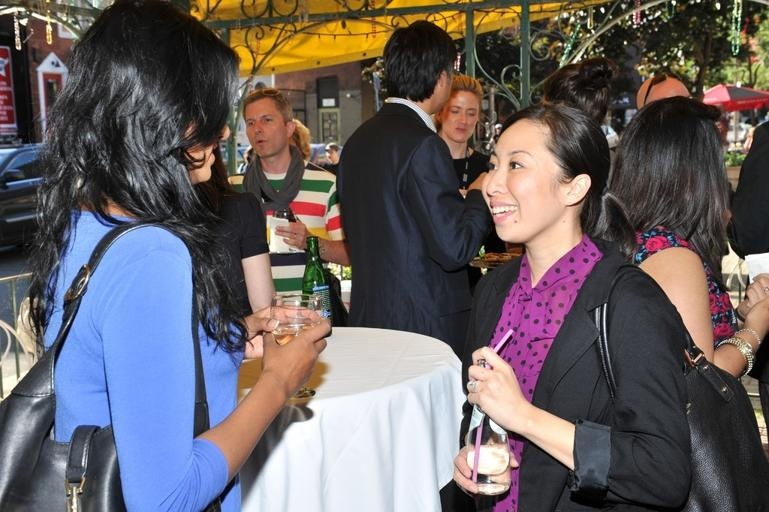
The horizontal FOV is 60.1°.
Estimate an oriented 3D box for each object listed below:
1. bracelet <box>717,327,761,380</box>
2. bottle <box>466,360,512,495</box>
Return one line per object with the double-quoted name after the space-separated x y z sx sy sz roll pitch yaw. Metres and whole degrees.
1.305 0.340 2.438 0.125 0.177 0.063 25 22 21 "bracelet"
0.318 0.568 1.988 0.147 0.266 0.117 -2 4 -6 "bottle"
